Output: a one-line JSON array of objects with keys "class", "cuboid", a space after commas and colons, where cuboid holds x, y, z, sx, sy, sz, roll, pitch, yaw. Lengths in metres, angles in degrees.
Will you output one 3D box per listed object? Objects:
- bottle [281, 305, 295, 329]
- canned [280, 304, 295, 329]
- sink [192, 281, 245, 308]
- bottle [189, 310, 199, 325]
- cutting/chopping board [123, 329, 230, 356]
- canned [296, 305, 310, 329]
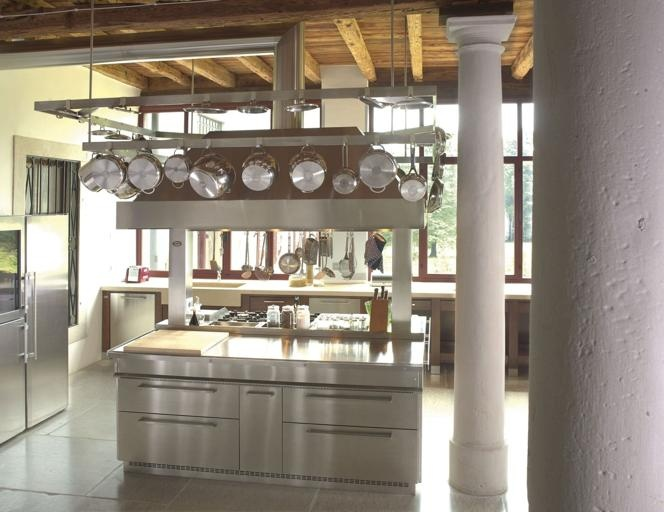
[{"class": "bottle", "cuboid": [-0.332, 0.465, 4.658, 0.124, 0.196, 0.144, 1, -5, -9]}, {"class": "canned", "cuboid": [-0.325, 0.462, 4.651, 0.124, 0.191, 0.143, 0, -5, -1]}, {"class": "sink", "cuboid": [-1.246, 0.416, 6.886, 0.549, 0.220, 0.762, -1, 7, -10]}, {"class": "bottle", "cuboid": [-1.035, 0.482, 4.722, 0.081, 0.141, 0.090, 0, 5, -7]}, {"class": "cutting/chopping board", "cuboid": [-1.051, 0.589, 4.329, 0.588, 0.050, 0.606, 1, 7, 9]}, {"class": "canned", "cuboid": [-0.213, 0.461, 4.606, 0.087, 0.147, 0.114, -1, 7, -7]}]
